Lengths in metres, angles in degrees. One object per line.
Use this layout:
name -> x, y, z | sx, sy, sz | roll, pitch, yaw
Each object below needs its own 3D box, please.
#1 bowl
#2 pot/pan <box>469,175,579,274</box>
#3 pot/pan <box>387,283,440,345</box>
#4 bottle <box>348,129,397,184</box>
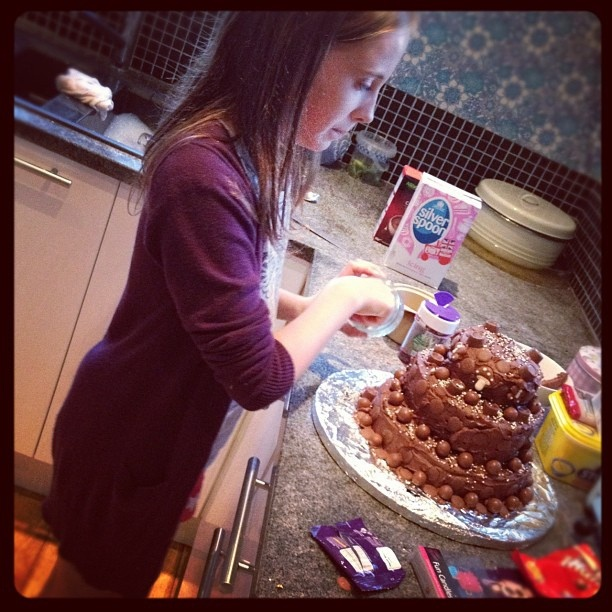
bowl -> 0.436, 0.140, 0.909 | 0.132, 0.033, 0.133 | 7, 26, -3
pot/pan -> 0.385, -0.146, 0.891 | 0.182, 0.109, 0.177 | -3, 37, -38
pot/pan -> 0.199, 0.002, 1.015 | 0.116, 0.086, 0.115 | 12, 23, -9
bottle -> 0.160, -0.363, 1.236 | 0.101, 0.088, 0.102 | 15, 26, -32
